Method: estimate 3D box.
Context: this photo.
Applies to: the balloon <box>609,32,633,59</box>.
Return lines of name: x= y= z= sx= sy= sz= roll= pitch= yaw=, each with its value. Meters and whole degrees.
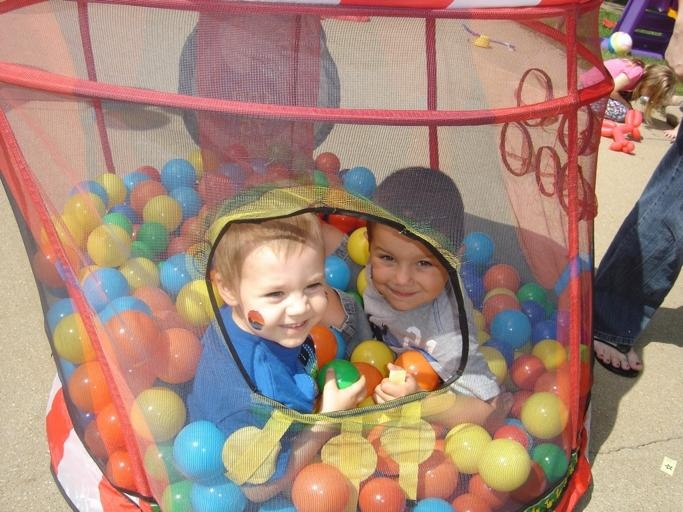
balloon: x=2.761 y=-2.097 z=6.767 sx=0.211 sy=0.252 sz=0.239 roll=-7 pitch=21 yaw=-21
